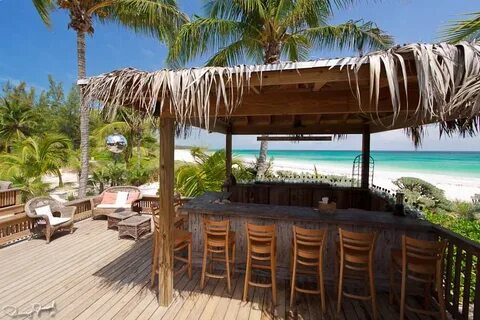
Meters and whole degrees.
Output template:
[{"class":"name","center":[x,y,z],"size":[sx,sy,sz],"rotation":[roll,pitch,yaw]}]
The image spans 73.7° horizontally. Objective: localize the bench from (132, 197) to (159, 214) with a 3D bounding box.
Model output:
[{"class":"bench","center":[-3.342,1.571,11.255],"size":[0.808,0.424,0.331],"rotation":[3,15,6]}]

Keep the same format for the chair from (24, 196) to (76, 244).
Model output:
[{"class":"chair","center":[-5.968,1.803,10.104],"size":[1.051,1.282,1.329],"rotation":[4,4,41]}]

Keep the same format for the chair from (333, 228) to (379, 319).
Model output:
[{"class":"chair","center":[2.729,2.490,7.472],"size":[0.936,1.994,1.039],"rotation":[2,4,20]}]

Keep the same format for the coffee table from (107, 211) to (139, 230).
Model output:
[{"class":"coffee table","center":[-4.014,1.885,10.657],"size":[0.638,0.401,0.667],"rotation":[2,4,18]}]

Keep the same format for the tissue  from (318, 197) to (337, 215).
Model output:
[{"class":"tissue ","center":[2.244,1.163,8.205],"size":[0.483,0.390,0.352],"rotation":[5,-9,-2]}]

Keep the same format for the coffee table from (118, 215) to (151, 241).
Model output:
[{"class":"coffee table","center":[-3.328,2.079,10.039],"size":[0.633,0.483,0.952],"rotation":[0,1,2]}]

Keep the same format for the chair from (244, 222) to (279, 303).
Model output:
[{"class":"chair","center":[0.489,2.353,7.760],"size":[0.814,1.890,0.928],"rotation":[1,3,3]}]

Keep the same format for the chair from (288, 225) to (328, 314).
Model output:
[{"class":"chair","center":[1.615,2.427,7.587],"size":[0.835,1.925,0.939],"rotation":[2,3,11]}]

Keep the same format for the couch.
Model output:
[{"class":"couch","center":[-4.615,1.496,11.989],"size":[1.739,1.280,1.103],"rotation":[-1,-9,-3]}]

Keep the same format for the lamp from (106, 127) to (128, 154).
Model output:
[{"class":"lamp","center":[-3.816,-0.531,9.854],"size":[0.533,0.553,0.310],"rotation":[1,3,-7]}]

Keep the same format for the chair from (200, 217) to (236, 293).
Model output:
[{"class":"chair","center":[-0.544,2.241,7.974],"size":[0.865,1.786,0.953],"rotation":[1,3,-3]}]

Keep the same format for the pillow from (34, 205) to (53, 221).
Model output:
[{"class":"pillow","center":[-6.120,1.627,9.997],"size":[0.470,0.401,0.445],"rotation":[-1,4,-33]}]
